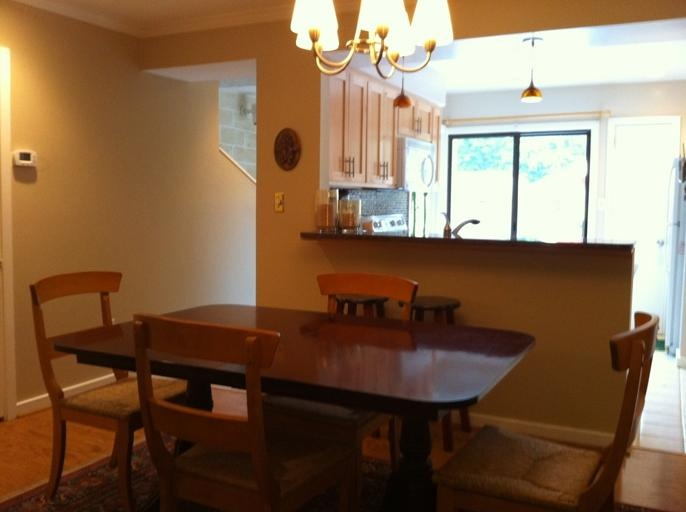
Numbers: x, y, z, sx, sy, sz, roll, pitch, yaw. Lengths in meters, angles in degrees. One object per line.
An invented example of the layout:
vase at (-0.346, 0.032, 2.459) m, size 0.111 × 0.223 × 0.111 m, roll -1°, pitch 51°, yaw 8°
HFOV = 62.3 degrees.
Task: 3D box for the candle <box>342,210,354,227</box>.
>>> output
candle at (0.024, -0.264, 3.986) m, size 0.094 × 0.113 × 0.092 m, roll -8°, pitch 11°, yaw -42°

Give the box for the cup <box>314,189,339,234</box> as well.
cup at (-0.119, -0.325, 4.045) m, size 0.154 × 0.294 × 0.075 m, roll 0°, pitch 12°, yaw -2°

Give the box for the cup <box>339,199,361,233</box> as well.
cup at (0.062, -0.290, 4.139) m, size 0.193 × 0.313 × 0.189 m, roll 0°, pitch 9°, yaw 0°
